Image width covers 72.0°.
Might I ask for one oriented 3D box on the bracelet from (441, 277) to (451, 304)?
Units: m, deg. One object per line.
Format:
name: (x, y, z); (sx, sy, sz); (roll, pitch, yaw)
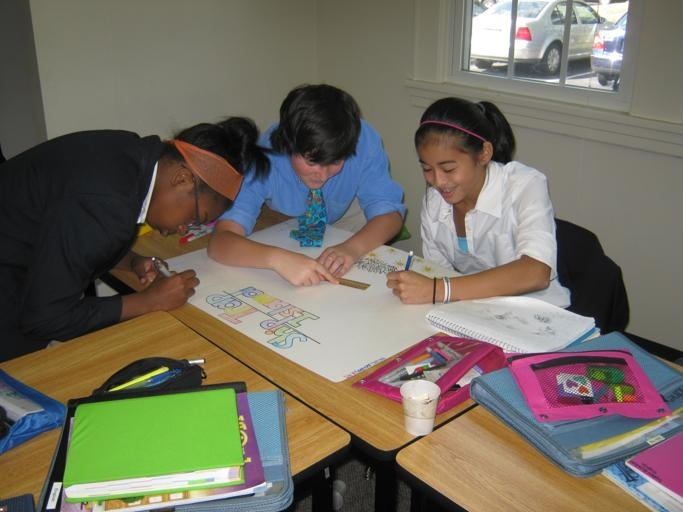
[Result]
bracelet: (0.351, 0.115, 1.559); (0.022, 0.057, 0.054); (-1, -1, 1)

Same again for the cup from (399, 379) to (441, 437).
cup: (0.176, 0.361, 1.099); (0.124, 0.121, 0.117); (0, -11, 0)

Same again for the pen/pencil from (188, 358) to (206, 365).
pen/pencil: (-0.391, 0.286, 1.280); (0.057, 0.016, 0.016); (4, 23, 2)

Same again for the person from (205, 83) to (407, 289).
person: (-0.118, -0.323, 2.146); (0.918, 0.839, 1.176); (-4, -7, 0)
